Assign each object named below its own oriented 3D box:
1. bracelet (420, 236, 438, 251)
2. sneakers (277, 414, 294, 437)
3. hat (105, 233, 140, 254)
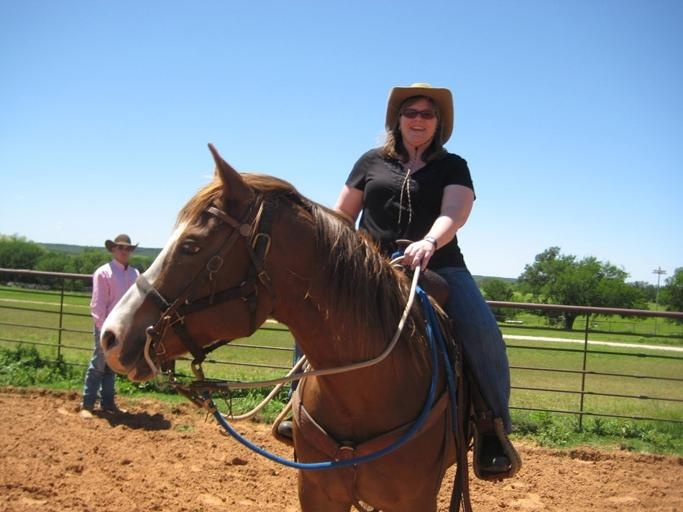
[{"bbox_3d":[0.702,-0.118,4.632,0.109,0.047,0.116,24,-28,50],"label":"bracelet"},{"bbox_3d":[-0.479,1.497,5.177,0.105,0.177,0.069,8,-15,1],"label":"sneakers"},{"bbox_3d":[-2.918,-0.149,7.779,0.322,0.166,0.365,4,-16,-24],"label":"hat"}]
